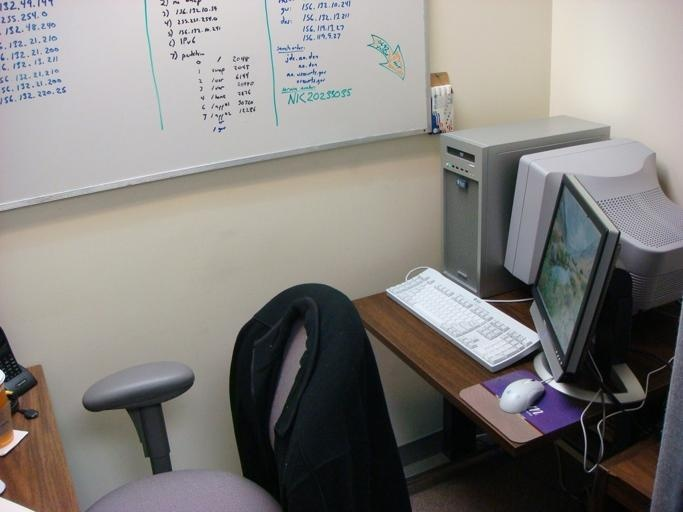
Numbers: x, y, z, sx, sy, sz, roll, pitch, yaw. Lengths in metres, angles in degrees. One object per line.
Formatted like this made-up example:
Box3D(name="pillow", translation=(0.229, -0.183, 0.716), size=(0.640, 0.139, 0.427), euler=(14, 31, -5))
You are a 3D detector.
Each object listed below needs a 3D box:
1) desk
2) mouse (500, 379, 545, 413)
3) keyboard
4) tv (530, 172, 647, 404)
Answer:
Box3D(name="desk", translation=(0.337, 0.355, 1.726), size=(0.552, 0.369, 0.551), euler=(-24, 33, -33))
Box3D(name="mouse", translation=(0.480, 0.370, 1.372), size=(0.117, 0.044, 0.067), euler=(-37, 41, -22))
Box3D(name="keyboard", translation=(0.410, 0.207, 1.673), size=(0.214, 0.078, 0.561), euler=(-34, 35, -13))
Box3D(name="tv", translation=(0.692, 0.101, 1.415), size=(0.248, 0.532, 0.450), euler=(-3, 28, 0))
